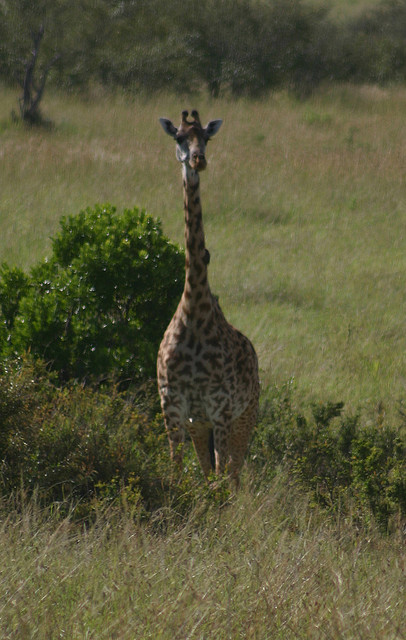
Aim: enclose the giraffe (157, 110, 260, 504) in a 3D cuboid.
[{"bbox_3d":[0.005,-0.040,25.267,1.559,6.034,1.016,-1,13,-2],"label":"giraffe"}]
